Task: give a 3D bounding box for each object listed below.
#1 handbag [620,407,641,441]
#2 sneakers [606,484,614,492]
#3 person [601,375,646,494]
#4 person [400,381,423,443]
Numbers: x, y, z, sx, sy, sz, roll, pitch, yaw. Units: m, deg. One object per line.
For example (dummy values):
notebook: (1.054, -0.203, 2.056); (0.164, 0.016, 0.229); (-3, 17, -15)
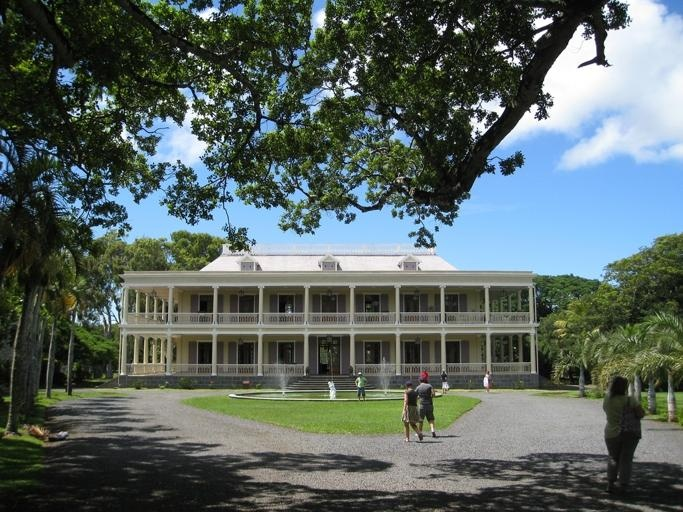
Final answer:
handbag: (5.641, 3.246, 11.964); (0.410, 0.564, 0.182); (4, -13, -20)
sneakers: (5.175, 4.488, 11.937); (0.093, 0.156, 0.158); (6, -8, -1)
person: (5.553, 3.481, 12.149); (0.735, 2.197, 0.672); (-5, -13, 24)
person: (2.051, 4.490, 17.874); (0.520, 1.665, 0.768); (-2, -12, 7)
